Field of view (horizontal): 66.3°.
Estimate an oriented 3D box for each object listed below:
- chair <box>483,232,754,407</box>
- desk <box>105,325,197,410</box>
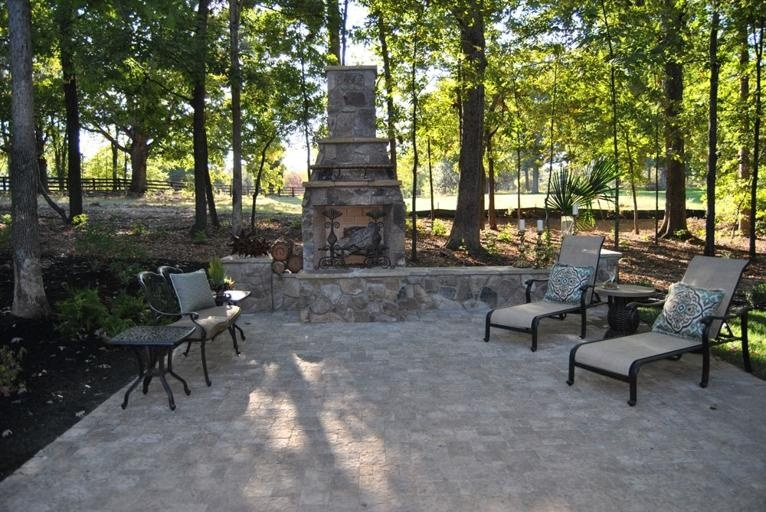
[{"bbox_3d":[4.279,0.920,9.255,2.531,1.327,2.560,-3,6,-29],"label":"chair"},{"bbox_3d":[-3.451,1.686,8.912,1.325,1.091,1.231,0,-1,-24],"label":"desk"}]
